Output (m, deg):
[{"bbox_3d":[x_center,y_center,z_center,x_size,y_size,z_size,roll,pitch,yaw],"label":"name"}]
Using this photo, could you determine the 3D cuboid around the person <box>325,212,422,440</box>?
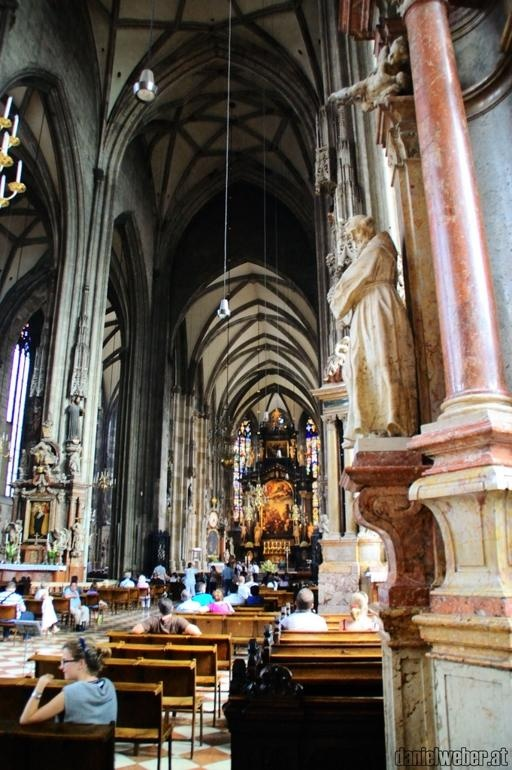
[{"bbox_3d":[0.578,-0.280,2.714,0.386,1.118,0.224,-5,-18,16],"label":"person"}]

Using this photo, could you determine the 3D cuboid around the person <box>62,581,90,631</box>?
[{"bbox_3d":[-3.397,4.190,10.358,0.502,1.006,0.388,1,2,41],"label":"person"}]

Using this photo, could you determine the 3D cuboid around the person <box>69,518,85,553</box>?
[{"bbox_3d":[-4.570,3.922,13.903,0.139,0.985,0.496,-5,-18,16],"label":"person"}]

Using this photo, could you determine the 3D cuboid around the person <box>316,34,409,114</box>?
[{"bbox_3d":[0.738,-1.731,3.011,0.470,0.261,0.711,-26,31,-12],"label":"person"}]
